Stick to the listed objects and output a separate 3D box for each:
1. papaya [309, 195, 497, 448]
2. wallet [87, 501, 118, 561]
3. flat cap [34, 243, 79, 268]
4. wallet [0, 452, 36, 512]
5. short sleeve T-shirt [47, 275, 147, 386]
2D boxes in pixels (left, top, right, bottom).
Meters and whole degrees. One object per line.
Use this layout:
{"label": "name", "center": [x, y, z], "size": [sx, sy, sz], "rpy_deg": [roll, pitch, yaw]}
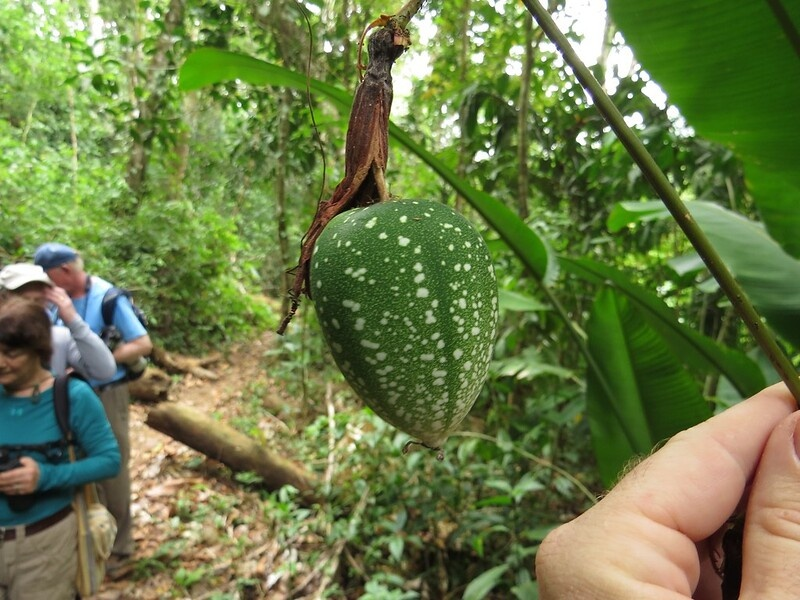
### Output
{"label": "papaya", "center": [0.004, 0.036, 1.486], "size": [0.449, 0.552, 0.167], "rpy_deg": [10, 9, -9]}
{"label": "wallet", "center": [-1.204, 0.942, 2.559], "size": [0.077, 0.200, 0.152], "rpy_deg": [-8, -2, 0]}
{"label": "flat cap", "center": [-1.366, -0.173, 2.519], "size": [0.137, 0.076, 0.099], "rpy_deg": [-33, 58, -26]}
{"label": "wallet", "center": [-1.394, 0.667, 2.281], "size": [0.131, 0.238, 0.043], "rpy_deg": [8, 9, -19]}
{"label": "short sleeve T-shirt", "center": [-1.326, 0.176, 2.639], "size": [0.447, 0.447, 0.263], "rpy_deg": [-14, -10, -19]}
